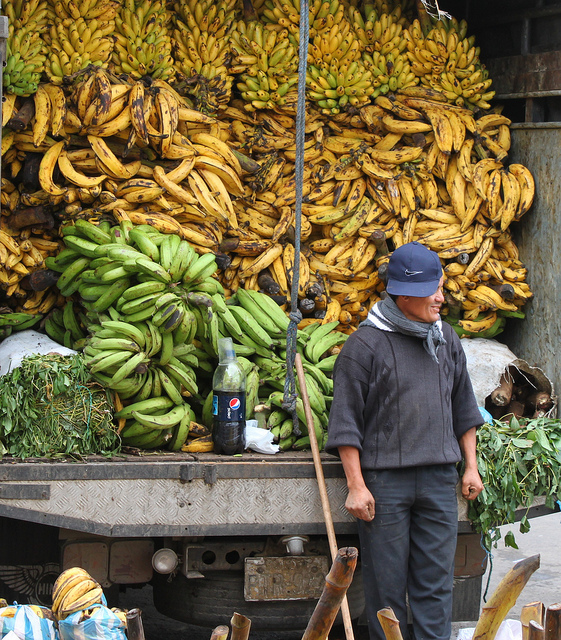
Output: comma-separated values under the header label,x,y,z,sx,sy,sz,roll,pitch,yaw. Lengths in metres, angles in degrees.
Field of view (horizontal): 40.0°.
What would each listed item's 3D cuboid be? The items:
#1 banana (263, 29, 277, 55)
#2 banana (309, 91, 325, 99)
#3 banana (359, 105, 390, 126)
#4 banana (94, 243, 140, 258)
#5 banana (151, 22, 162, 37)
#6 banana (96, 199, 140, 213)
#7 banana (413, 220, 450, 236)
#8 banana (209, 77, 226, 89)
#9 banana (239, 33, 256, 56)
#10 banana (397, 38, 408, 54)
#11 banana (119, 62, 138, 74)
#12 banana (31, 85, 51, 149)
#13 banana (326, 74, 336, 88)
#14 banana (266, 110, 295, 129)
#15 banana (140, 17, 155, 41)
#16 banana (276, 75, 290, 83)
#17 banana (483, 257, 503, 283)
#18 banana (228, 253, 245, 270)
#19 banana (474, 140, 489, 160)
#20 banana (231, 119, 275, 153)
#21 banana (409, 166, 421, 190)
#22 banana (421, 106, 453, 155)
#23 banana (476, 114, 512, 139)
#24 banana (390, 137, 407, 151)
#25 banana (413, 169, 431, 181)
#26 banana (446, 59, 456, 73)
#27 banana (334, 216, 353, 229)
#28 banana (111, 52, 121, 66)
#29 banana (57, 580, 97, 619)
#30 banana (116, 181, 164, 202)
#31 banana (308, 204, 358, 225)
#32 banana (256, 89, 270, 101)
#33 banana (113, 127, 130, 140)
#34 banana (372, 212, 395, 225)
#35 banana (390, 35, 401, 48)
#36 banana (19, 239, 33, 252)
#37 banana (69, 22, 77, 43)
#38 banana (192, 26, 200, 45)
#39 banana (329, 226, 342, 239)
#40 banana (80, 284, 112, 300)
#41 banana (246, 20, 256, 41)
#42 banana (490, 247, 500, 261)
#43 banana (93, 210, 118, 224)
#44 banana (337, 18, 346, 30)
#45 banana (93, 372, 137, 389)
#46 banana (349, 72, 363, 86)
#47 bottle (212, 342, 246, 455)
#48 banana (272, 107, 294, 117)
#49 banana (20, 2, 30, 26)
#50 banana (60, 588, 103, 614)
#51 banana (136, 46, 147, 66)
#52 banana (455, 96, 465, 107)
label,x,y,z,sx,sy,sz,roll,pitch,yaw
banana,-0.064,-1.750,4.864,0.054,0.176,0.061,19,-33,2
banana,0.226,-1.422,4.886,0.132,0.044,0.033,5,28,-13
banana,0.607,-1.376,5.114,0.192,0.145,0.047,-4,-39,-50
banana,-0.849,-0.361,4.004,0.242,0.048,0.061,-6,29,-33
banana,-0.733,-1.726,4.586,0.032,0.103,0.034,18,-46,-5
banana,-0.934,-0.655,4.403,0.297,0.072,0.055,-3,-30,-43
banana,1.041,-0.627,5.274,0.331,0.106,0.085,-8,10,-9
banana,-0.379,-1.439,4.747,0.035,0.125,0.040,32,17,-41
banana,-0.215,-1.732,4.825,0.051,0.168,0.054,-26,13,23
banana,0.804,-1.821,5.118,0.034,0.124,0.043,27,-11,-1
banana,-0.888,-1.473,4.568,0.113,0.030,0.035,31,23,-33
banana,-1.280,-1.113,4.210,0.106,0.365,0.078,1,-27,-4
banana,0.323,-1.516,4.896,0.093,0.028,0.027,50,-4,-17
banana,-0.006,-1.302,4.981,0.164,0.062,0.044,25,-52,-7
banana,-0.780,-1.731,4.567,0.055,0.171,0.051,20,-31,-8
banana,0.017,-1.521,4.866,0.063,0.032,0.035,3,-25,6
banana,1.379,-0.330,5.014,0.062,0.181,0.054,-12,-44,-18
banana,-0.267,-0.372,4.857,0.039,0.141,0.046,29,-39,15
banana,1.340,-1.140,5.170,0.048,0.173,0.043,-14,1,-36
banana,-0.171,-1.170,4.896,0.291,0.128,0.078,35,-33,2
banana,0.893,-0.944,5.176,0.042,0.171,0.049,-20,-14,35
banana,1.062,-1.278,5.145,0.146,0.384,0.093,-36,-25,12
banana,1.400,-1.329,5.210,0.293,0.161,0.074,-13,2,2
banana,0.802,-1.193,5.269,0.050,0.067,0.192,-6,-5,20
banana,0.944,-0.981,5.188,0.125,0.042,0.027,31,-19,-16
banana,1.127,-1.679,5.112,0.052,0.074,0.023,16,17,23
banana,0.410,-0.643,5.134,0.153,0.043,0.051,-35,17,-12
banana,-0.956,-1.525,4.519,0.023,0.033,0.095,-16,-57,27
banana,-0.402,0.547,1.539,0.024,0.072,0.059,46,8,7
banana,-0.816,-0.742,4.457,0.226,0.114,0.069,1,-27,-3
banana,0.373,-0.672,5.084,0.449,0.099,0.147,-14,5,-32
banana,-0.106,-1.412,4.844,0.090,0.050,0.040,35,15,-4
banana,-0.907,-1.075,4.428,0.065,0.019,0.060,5,-33,-22
banana,0.683,-0.684,5.185,0.130,0.034,0.042,-30,-5,-25
banana,0.755,-1.838,5.098,0.029,0.103,0.037,37,-24,-24
banana,-1.393,-0.413,4.251,0.066,0.068,0.059,2,-2,-20
banana,-1.151,-1.614,4.313,0.030,0.093,0.028,-2,-17,13
banana,-0.515,-1.750,4.739,0.050,0.094,0.032,-3,-12,-8
banana,0.361,-0.578,5.091,0.059,0.076,0.042,23,-36,27
banana,-0.970,-0.146,4.036,0.219,0.068,0.061,-14,-4,25
banana,-0.188,-1.824,4.869,0.039,0.132,0.045,-7,-25,27
banana,1.425,-0.435,5.147,0.030,0.106,0.031,-20,-24,25
banana,-0.980,-0.587,4.399,0.165,0.053,0.041,16,-28,-23
banana,0.398,-1.924,5.016,0.025,0.089,0.030,37,-25,-27
banana,-0.794,0.302,3.839,0.063,0.093,0.252,-44,-24,20
banana,0.492,-1.548,4.970,0.034,0.121,0.041,37,-6,-32
bottle,-0.258,0.396,3.960,0.173,0.565,0.260,1,-2,-5
banana,0.012,-1.348,4.979,0.086,0.022,0.014,34,-9,-30
banana,-1.391,-1.673,4.223,0.033,0.112,0.037,4,-8,-27
banana,-0.386,0.553,1.535,0.050,0.014,0.040,-23,-4,-6
banana,-0.809,-1.542,4.496,0.029,0.094,0.032,-21,-7,-19
banana,1.205,-1.471,5.203,0.049,0.059,0.034,-3,-3,3
